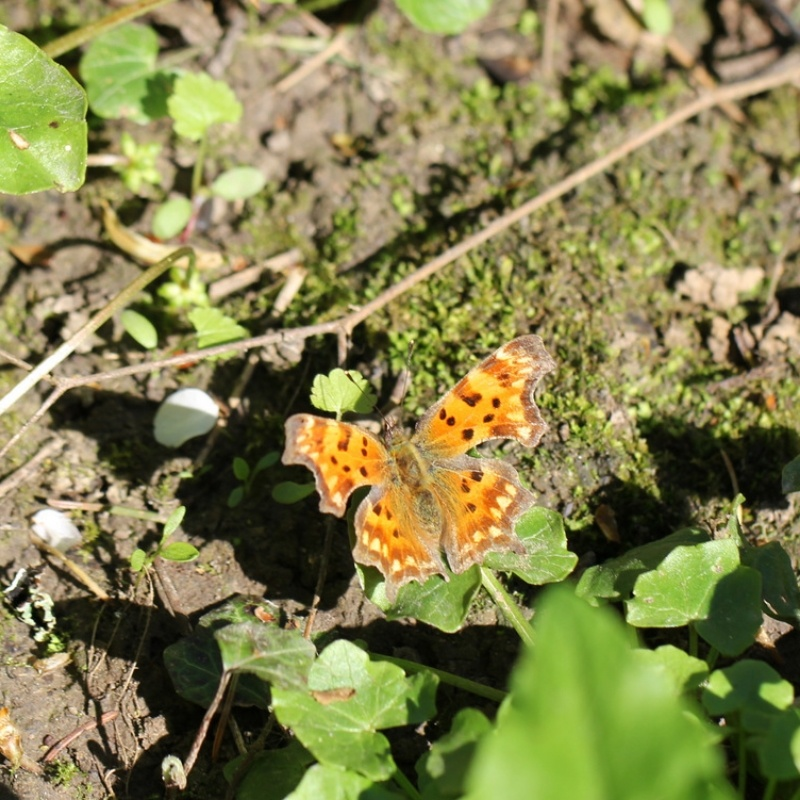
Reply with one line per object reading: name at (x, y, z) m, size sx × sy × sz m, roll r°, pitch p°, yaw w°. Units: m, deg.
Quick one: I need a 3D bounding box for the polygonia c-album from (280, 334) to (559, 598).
polygonia c-album at (0.127, 0.151, 2.949) m, size 0.897 × 0.764 × 0.782 m, roll 5°, pitch 1°, yaw 10°
